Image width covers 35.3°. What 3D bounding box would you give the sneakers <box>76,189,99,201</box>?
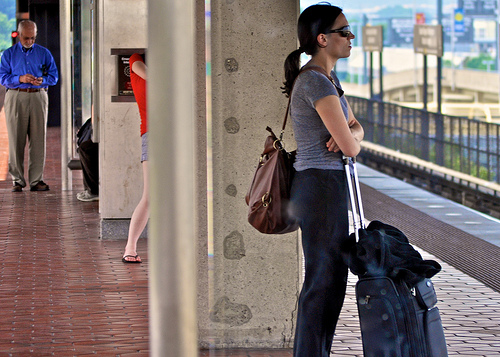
[{"bbox_3d":[-2.555,0.285,12.359,0.253,0.091,0.189,10,9,-7],"label":"sneakers"}]

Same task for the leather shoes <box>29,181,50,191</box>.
[{"bbox_3d":[-3.489,0.106,13.035,0.278,0.169,0.143,-5,8,-7],"label":"leather shoes"}]

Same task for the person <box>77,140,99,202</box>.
[{"bbox_3d":[-2.515,-0.128,12.160,0.306,1.008,0.525,-2,11,-14],"label":"person"}]

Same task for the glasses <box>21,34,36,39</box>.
[{"bbox_3d":[-3.550,-2.256,12.537,0.235,0.110,0.207,-3,12,-20],"label":"glasses"}]

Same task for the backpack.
[{"bbox_3d":[0.178,0.023,6.132,0.465,0.943,0.843,7,1,-1],"label":"backpack"}]
